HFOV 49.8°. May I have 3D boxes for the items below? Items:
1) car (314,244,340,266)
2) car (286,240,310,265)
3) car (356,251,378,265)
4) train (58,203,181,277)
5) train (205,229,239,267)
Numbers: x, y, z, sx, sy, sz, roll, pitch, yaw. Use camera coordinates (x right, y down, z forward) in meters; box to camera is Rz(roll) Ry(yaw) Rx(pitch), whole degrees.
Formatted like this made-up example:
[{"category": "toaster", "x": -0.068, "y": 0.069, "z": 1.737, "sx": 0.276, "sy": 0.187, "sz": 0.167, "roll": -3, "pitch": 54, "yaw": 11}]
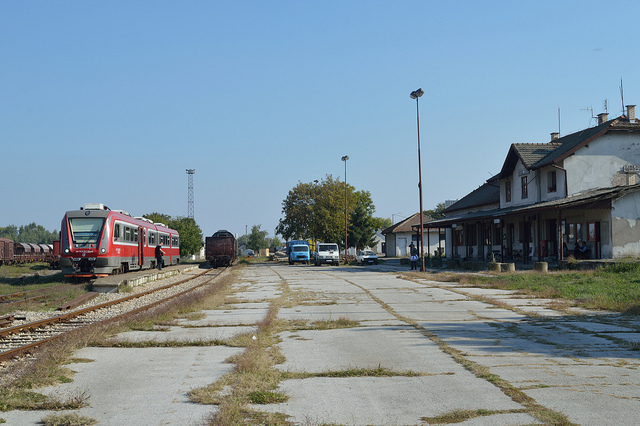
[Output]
[{"category": "car", "x": 0.539, "y": 3.491, "z": 57.733, "sx": 2.007, "sy": 1.886, "sz": 2.039, "roll": -2, "pitch": -6, "yaw": 4}, {"category": "car", "x": -1.928, "y": 3.570, "z": 63.767, "sx": 1.522, "sy": 1.645, "sz": 3.040, "roll": 0, "pitch": -8, "yaw": -3}, {"category": "car", "x": 3.757, "y": 3.692, "z": 56.872, "sx": 1.301, "sy": 1.252, "sz": 2.960, "roll": -1, "pitch": -7, "yaw": -10}, {"category": "train", "x": -10.990, "y": 1.750, "z": 37.117, "sx": 2.773, "sy": 4.165, "sz": 14.178, "roll": -2, "pitch": -7, "yaw": 8}, {"category": "train", "x": -8.376, "y": 3.128, "z": 58.321, "sx": 2.667, "sy": 3.545, "sz": 9.709, "roll": 0, "pitch": -6, "yaw": -1}]
